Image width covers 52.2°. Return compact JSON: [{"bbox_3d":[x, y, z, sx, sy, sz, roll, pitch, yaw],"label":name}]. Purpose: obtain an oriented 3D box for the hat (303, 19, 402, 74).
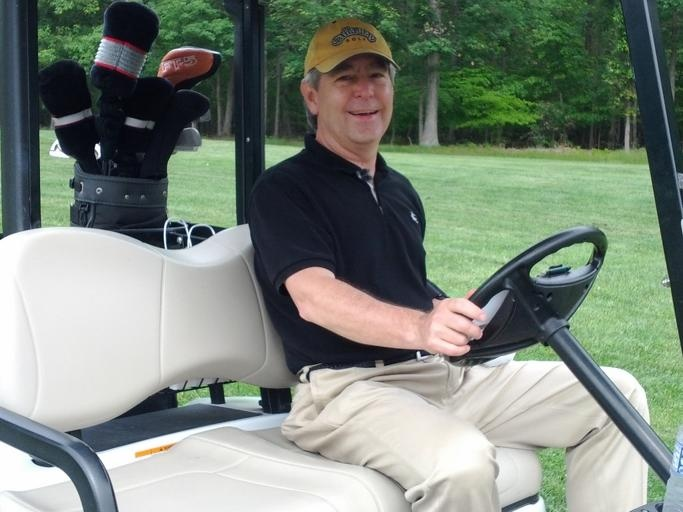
[{"bbox_3d":[0.023,-0.693,2.344,0.278,0.196,0.357,-7,4,-4],"label":"hat"}]
